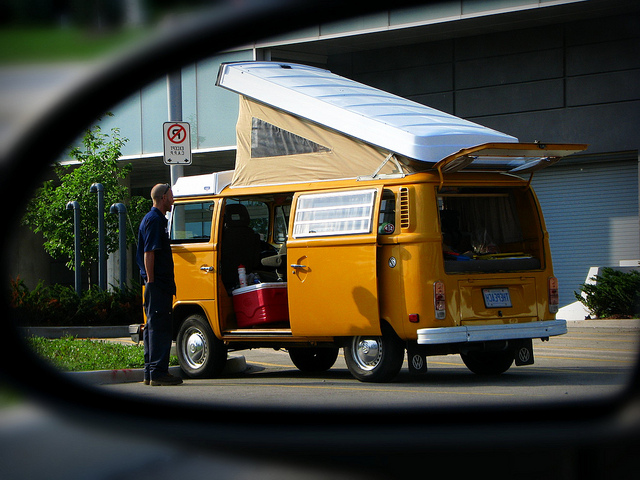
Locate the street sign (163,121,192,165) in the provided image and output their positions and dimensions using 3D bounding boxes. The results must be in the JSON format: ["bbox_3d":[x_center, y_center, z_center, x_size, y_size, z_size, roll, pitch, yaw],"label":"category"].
[{"bbox_3d":[-2.178,-1.516,12.334,0.416,0.643,0.687,-1,-2,-11],"label":"street sign"}]

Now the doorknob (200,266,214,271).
[{"bbox_3d":[-1.347,0.351,9.736,0.194,0.056,0.029,-2,-3,38],"label":"doorknob"}]

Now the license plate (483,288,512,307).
[{"bbox_3d":[1.928,0.627,8.580,0.385,0.209,0.051,0,-3,-36],"label":"license plate"}]

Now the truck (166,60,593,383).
[{"bbox_3d":[0.271,-0.155,10.152,2.859,3.260,5.832,-1,0,-40],"label":"truck"}]

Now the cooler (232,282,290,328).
[{"bbox_3d":[-0.653,0.817,9.938,0.760,0.400,0.740,-13,-6,22],"label":"cooler"}]

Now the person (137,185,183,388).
[{"bbox_3d":[-1.724,0.423,8.526,0.387,2.085,0.918,-1,-3,-13],"label":"person"}]

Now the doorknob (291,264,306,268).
[{"bbox_3d":[-0.229,0.295,8.861,0.199,0.054,0.040,1,15,27],"label":"doorknob"}]
